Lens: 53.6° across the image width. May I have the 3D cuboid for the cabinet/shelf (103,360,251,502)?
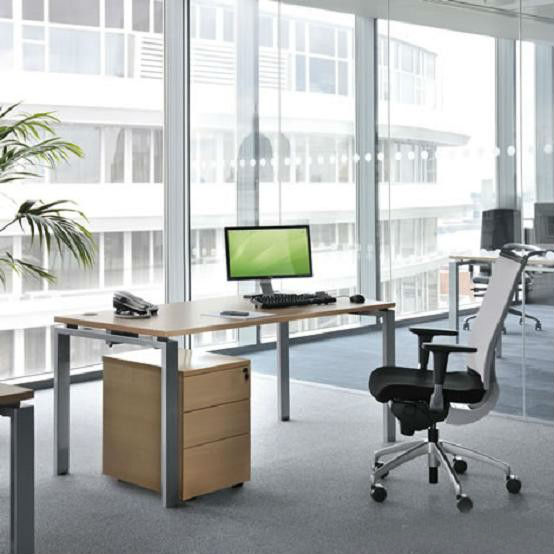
[{"bbox_3d":[-0.501,0.734,2.834,0.654,0.680,0.563,1,-1,30],"label":"cabinet/shelf"}]

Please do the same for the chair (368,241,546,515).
[{"bbox_3d":[0.860,0.444,2.739,0.635,1.267,0.691,5,1,9],"label":"chair"}]

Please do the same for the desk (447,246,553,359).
[{"bbox_3d":[1.711,0.164,4.062,0.662,0.707,0.664,-1,0,-39],"label":"desk"}]

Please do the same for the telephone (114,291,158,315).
[{"bbox_3d":[-0.770,0.145,2.974,0.231,0.126,0.244,0,0,4],"label":"telephone"}]
